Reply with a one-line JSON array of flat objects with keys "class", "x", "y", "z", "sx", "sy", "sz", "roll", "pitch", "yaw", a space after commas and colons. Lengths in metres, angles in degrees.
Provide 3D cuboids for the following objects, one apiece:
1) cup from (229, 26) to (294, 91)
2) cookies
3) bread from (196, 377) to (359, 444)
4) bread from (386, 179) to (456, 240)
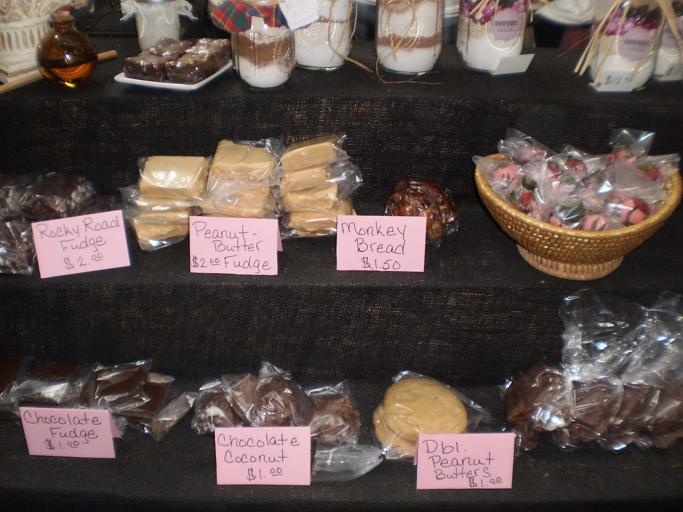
[{"class": "cup", "x": -0.201, "y": -0.531, "z": 1.627, "sx": 0.147, "sy": 0.231, "sz": 0.152, "roll": 2, "pitch": 61, "yaw": -3}, {"class": "cookies", "x": 0.218, "y": 0.412, "z": 1.592, "sx": 0.174, "sy": 0.055, "sz": 0.179, "roll": -1, "pitch": 41, "yaw": -1}, {"class": "bread", "x": -0.168, "y": 0.355, "z": 1.602, "sx": 0.320, "sy": 0.140, "sz": 0.213, "roll": 5, "pitch": 8, "yaw": -1}, {"class": "bread", "x": 0.231, "y": -0.131, "z": 1.676, "sx": 0.166, "sy": 0.052, "sz": 0.179, "roll": 16, "pitch": 72, "yaw": 12}]
